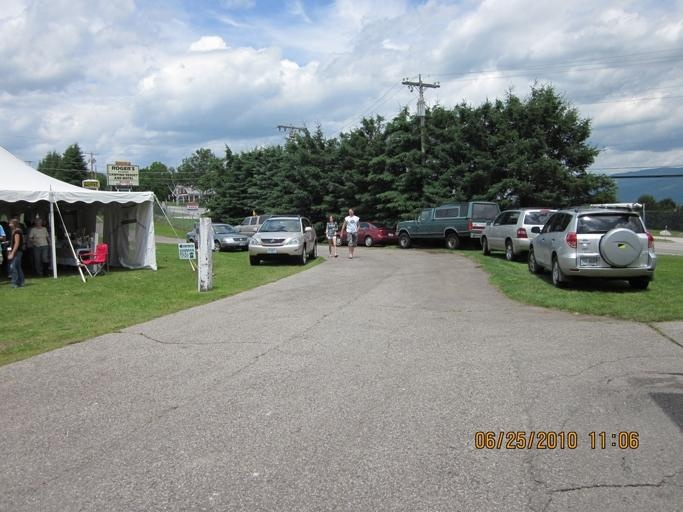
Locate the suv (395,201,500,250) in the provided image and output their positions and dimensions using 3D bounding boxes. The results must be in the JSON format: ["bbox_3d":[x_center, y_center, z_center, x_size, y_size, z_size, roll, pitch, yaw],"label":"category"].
[{"bbox_3d":[5.844,-1.604,26.917,2.342,2.041,4.826,-4,9,-34],"label":"suv"}]

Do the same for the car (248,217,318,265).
[{"bbox_3d":[-2.489,-0.638,21.181,2.177,2.018,2.793,1,7,14],"label":"car"}]

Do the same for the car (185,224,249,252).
[{"bbox_3d":[-7.562,-1.118,30.940,1.762,1.489,4.138,-2,3,-39],"label":"car"}]

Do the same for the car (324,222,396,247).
[{"bbox_3d":[1.769,-1.348,33.534,3.683,1.326,1.623,9,9,40],"label":"car"}]

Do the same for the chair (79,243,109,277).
[{"bbox_3d":[-8.417,0.134,17.115,0.874,1.046,0.905,-4,8,-26],"label":"chair"}]

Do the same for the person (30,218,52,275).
[{"bbox_3d":[-10.311,-0.299,17.123,0.538,1.999,1.527,-5,8,-33],"label":"person"}]

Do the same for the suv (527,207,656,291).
[{"bbox_3d":[6.129,-0.304,12.751,1.760,1.668,3.378,0,8,-1],"label":"suv"}]
